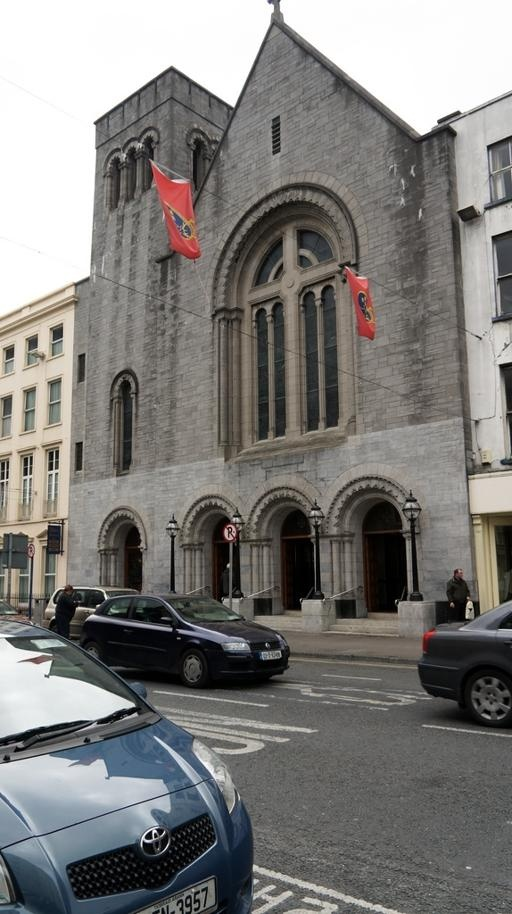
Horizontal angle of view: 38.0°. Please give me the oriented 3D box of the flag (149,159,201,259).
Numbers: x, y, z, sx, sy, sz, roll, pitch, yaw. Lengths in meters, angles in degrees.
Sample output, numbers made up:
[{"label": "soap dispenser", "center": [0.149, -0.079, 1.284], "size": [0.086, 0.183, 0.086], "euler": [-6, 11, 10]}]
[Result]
[{"label": "flag", "center": [-2.174, -6.729, 19.926], "size": [1.012, 2.609, 2.294], "euler": [-4, -8, -3]}]

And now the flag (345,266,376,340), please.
[{"label": "flag", "center": [3.050, -4.660, 21.902], "size": [0.675, 2.507, 2.099], "euler": [-6, -8, 11]}]
